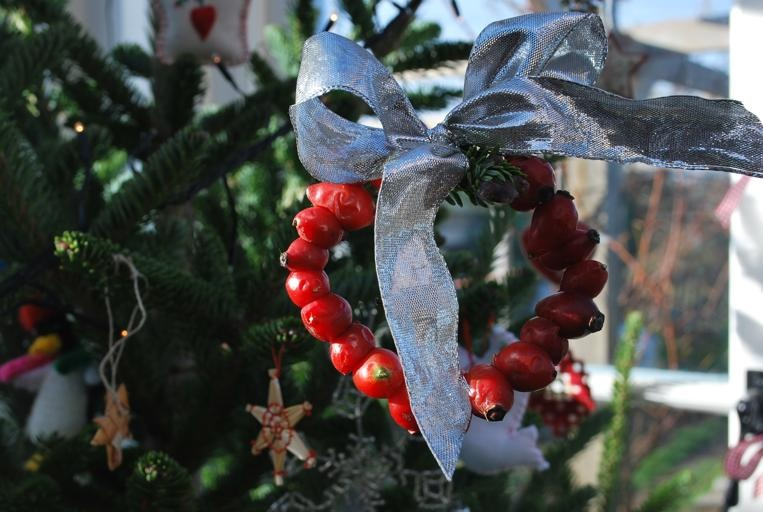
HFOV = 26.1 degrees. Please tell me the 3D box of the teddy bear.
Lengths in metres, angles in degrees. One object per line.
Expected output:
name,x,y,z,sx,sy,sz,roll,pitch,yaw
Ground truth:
teddy bear,-0.647,0.255,3.355,0.298,0.307,0.145,14,15,35
